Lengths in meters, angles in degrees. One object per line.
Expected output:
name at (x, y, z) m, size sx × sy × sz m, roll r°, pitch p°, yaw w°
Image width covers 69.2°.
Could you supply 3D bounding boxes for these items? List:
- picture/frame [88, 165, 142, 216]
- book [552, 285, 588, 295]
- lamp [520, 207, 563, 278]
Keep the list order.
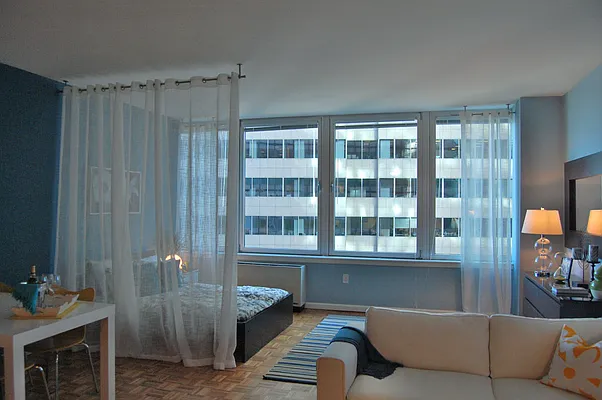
picture/frame at (-2.218, -0.107, 5.280) m, size 0.630 × 0.532 × 0.045 m, roll 1°, pitch 1°, yaw 10°
book at (2.982, 1.007, 4.833) m, size 0.357 × 0.085 × 0.293 m, roll -2°, pitch -1°, yaw 26°
lamp at (3.246, 0.554, 5.874) m, size 0.487 × 0.804 × 0.660 m, roll -2°, pitch 0°, yaw 30°
